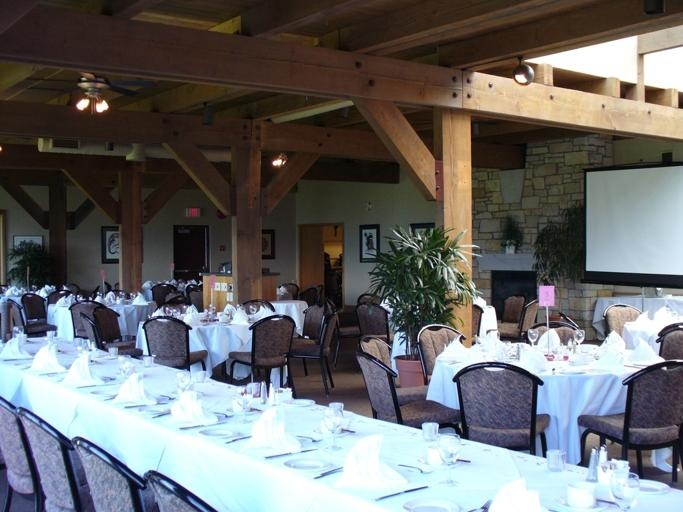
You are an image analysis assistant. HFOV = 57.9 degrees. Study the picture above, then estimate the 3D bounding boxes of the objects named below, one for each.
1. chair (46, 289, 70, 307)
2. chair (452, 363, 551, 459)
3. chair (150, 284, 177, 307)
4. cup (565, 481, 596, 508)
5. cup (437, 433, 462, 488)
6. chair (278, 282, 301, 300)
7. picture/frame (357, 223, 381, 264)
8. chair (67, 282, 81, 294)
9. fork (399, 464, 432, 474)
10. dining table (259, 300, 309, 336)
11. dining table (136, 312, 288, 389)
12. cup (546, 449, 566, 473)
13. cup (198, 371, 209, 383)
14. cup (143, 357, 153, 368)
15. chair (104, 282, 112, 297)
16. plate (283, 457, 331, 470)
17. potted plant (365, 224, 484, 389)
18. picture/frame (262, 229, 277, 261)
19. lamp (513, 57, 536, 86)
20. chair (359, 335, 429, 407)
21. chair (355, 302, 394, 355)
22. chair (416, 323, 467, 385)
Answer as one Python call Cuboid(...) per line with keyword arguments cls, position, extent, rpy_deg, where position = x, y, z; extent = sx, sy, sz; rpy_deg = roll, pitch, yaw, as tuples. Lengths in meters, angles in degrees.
Cuboid(cls="chair", position=(-5.056, 0.724, 11.138), extent=(0.347, 0.288, 0.362), rpy_deg=(1, -1, 3))
Cuboid(cls="chair", position=(1.057, 0.958, 4.314), extent=(0.550, 0.931, 0.608), rpy_deg=(1, 3, 21))
Cuboid(cls="chair", position=(-3.123, 0.690, 10.907), extent=(0.292, 0.377, 0.261), rpy_deg=(0, -2, -36))
Cuboid(cls="cup", position=(0.923, 0.926, 2.407), extent=(0.105, 0.076, 0.090), rpy_deg=(0, 4, 21))
Cuboid(cls="cup", position=(0.463, 0.859, 2.702), extent=(0.090, 0.175, 0.252), rpy_deg=(-1, 3, 9))
Cuboid(cls="chair", position=(-1.107, 0.735, 12.860), extent=(0.373, 0.536, 0.375), rpy_deg=(-1, -7, 4))
Cuboid(cls="picture/frame", position=(0.632, -0.318, 14.308), extent=(0.081, 1.308, 0.865), rpy_deg=(0, 2, -37))
Cuboid(cls="chair", position=(-5.612, 0.671, 12.978), extent=(0.184, 0.259, 0.179), rpy_deg=(1, -16, 32))
Cuboid(cls="fork", position=(0.320, 0.938, 2.732), extent=(0.156, 0.010, 0.063), rpy_deg=(1, 4, 32))
Cuboid(cls="dining table", position=(-0.761, 0.961, 10.119), extent=(0.595, 0.650, 0.632), rpy_deg=(-4, -6, 37))
Cuboid(cls="dining table", position=(-1.143, 0.976, 6.600), extent=(1.065, 0.576, 1.036), rpy_deg=(3, -5, -43))
Cuboid(cls="cup", position=(0.944, 0.906, 2.756), extent=(0.080, 0.090, 0.083), rpy_deg=(-3, 4, 0))
Cuboid(cls="cup", position=(-0.879, 0.770, 3.951), extent=(0.076, 0.083, 0.074), rpy_deg=(2, -2, 0))
Cuboid(cls="cup", position=(-1.448, 0.791, 4.653), extent=(0.071, 0.078, 0.129), rpy_deg=(6, 5, -20))
Cuboid(cls="chair", position=(-4.967, 0.699, 13.158), extent=(0.220, 0.346, 0.126), rpy_deg=(-1, 15, -12))
Cuboid(cls="plate", position=(-0.158, 0.928, 2.772), extent=(0.200, 0.006, 0.157), rpy_deg=(-1, 4, 9))
Cuboid(cls="potted plant", position=(0.853, 0.450, 6.909), extent=(1.187, 1.601, 1.347), rpy_deg=(1, 0, 35))
Cuboid(cls="picture/frame", position=(-2.009, -0.330, 17.183), extent=(0.357, 0.846, 0.103), rpy_deg=(-3, 4, -30))
Cuboid(cls="lamp", position=(1.965, -1.999, 6.696), extent=(0.188, 0.330, 0.625), rpy_deg=(0, 4, 21))
Cuboid(cls="chair", position=(0.371, 0.925, 4.872), extent=(0.570, 0.663, 0.516), rpy_deg=(-1, 2, 2))
Cuboid(cls="chair", position=(0.383, 0.909, 7.935), extent=(0.515, 0.738, 0.513), rpy_deg=(2, 3, 36))
Cuboid(cls="chair", position=(0.831, 0.856, 5.679), extent=(0.492, 0.670, 0.437), rpy_deg=(1, -2, -19))
